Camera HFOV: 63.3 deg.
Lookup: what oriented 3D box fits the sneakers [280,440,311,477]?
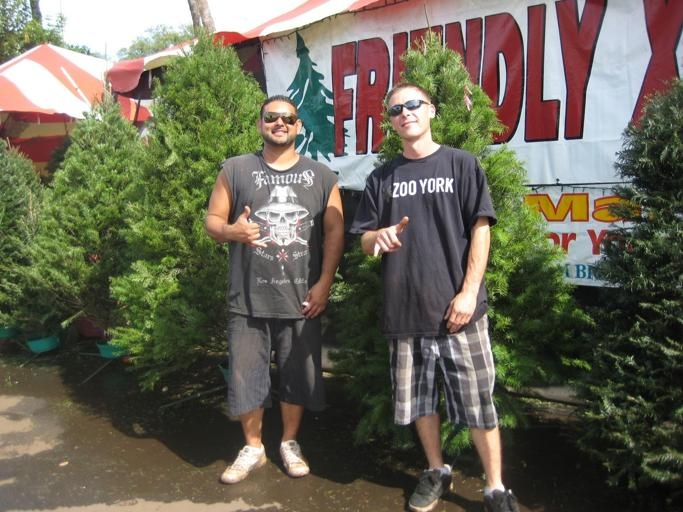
[{"bbox_3d":[-0.384,1.718,4.625,0.130,0.169,0.410,-3,-4,-16],"label":"sneakers"}]

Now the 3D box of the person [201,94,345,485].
[{"bbox_3d":[-0.528,0.259,4.613,1.115,3.120,0.744,-4,12,-11],"label":"person"}]
